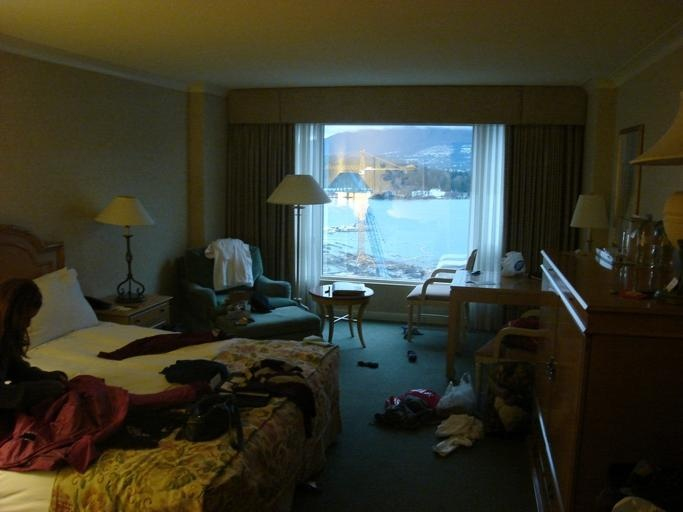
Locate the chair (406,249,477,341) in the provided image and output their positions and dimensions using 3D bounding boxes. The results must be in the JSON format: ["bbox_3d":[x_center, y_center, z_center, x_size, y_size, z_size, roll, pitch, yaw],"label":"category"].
[{"bbox_3d":[1.145,0.459,6.752,1.005,1.465,0.961,2,4,13],"label":"chair"}]

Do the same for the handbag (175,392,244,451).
[{"bbox_3d":[-0.755,0.939,3.130,0.360,0.214,0.380,-3,13,-14],"label":"handbag"}]

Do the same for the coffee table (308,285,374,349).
[{"bbox_3d":[0.015,0.714,6.257,0.695,0.635,0.711,7,9,41],"label":"coffee table"}]

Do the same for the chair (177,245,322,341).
[{"bbox_3d":[-1.089,0.548,6.165,1.068,1.315,1.546,-3,7,-39],"label":"chair"}]

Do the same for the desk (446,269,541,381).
[{"bbox_3d":[1.558,0.690,5.660,0.891,0.923,1.025,3,13,11],"label":"desk"}]

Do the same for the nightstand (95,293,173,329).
[{"bbox_3d":[-2.078,0.632,5.357,0.519,0.352,0.713,5,10,10],"label":"nightstand"}]

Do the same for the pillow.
[{"bbox_3d":[-2.186,0.428,4.225,0.181,0.396,0.527,-10,11,14],"label":"pillow"}]
